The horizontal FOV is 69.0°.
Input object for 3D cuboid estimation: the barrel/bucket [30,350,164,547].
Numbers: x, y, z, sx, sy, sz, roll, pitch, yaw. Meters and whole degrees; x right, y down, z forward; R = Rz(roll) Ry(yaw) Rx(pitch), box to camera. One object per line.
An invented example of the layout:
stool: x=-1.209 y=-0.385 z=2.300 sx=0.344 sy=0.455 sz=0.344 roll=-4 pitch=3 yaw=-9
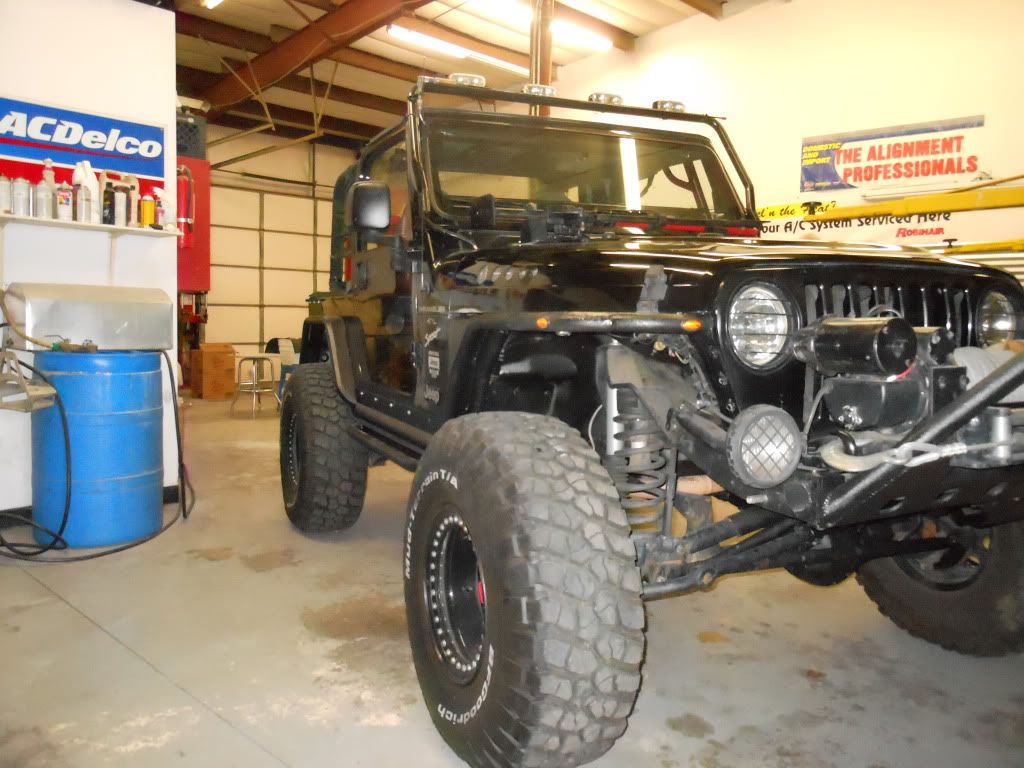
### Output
barrel/bucket: x=-2.296 y=0.346 z=4.135 sx=0.686 sy=1.059 sz=0.380 roll=-4 pitch=10 yaw=-28

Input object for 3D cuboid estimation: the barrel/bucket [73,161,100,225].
barrel/bucket: x=-2.555 y=-1.136 z=4.477 sx=0.144 sy=0.379 sz=0.283 roll=-4 pitch=10 yaw=-28
